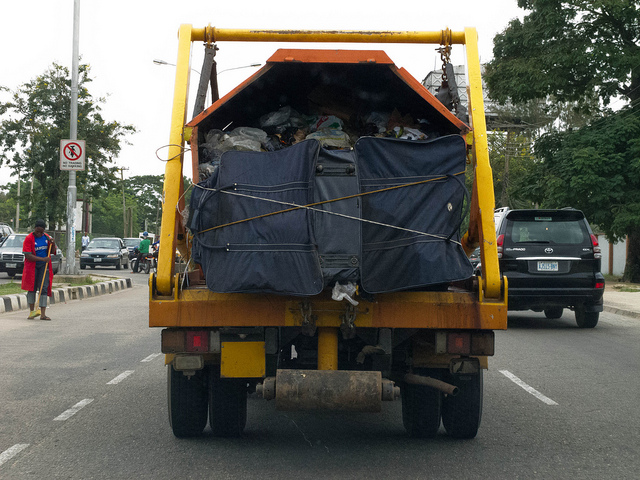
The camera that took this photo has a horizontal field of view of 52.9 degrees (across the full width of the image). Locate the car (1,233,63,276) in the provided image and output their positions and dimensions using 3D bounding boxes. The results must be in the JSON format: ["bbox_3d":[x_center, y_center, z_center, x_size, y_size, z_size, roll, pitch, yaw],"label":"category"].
[{"bbox_3d":[-8.752,0.454,19.251,1.287,1.321,2.726,0,-6,-1],"label":"car"}]

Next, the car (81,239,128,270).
[{"bbox_3d":[-11.234,0.748,33.469,2.131,1.618,2.579,0,1,-19],"label":"car"}]

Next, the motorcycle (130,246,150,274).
[{"bbox_3d":[-8.898,0.999,31.972,0.942,1.360,1.976,3,7,-29],"label":"motorcycle"}]

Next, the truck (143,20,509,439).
[{"bbox_3d":[0.085,-0.235,7.234,2.487,3.460,4.432,0,-2,0],"label":"truck"}]

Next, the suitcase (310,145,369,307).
[{"bbox_3d":[0.149,-0.138,5.135,0.438,1.245,0.415,0,1,20],"label":"suitcase"}]
